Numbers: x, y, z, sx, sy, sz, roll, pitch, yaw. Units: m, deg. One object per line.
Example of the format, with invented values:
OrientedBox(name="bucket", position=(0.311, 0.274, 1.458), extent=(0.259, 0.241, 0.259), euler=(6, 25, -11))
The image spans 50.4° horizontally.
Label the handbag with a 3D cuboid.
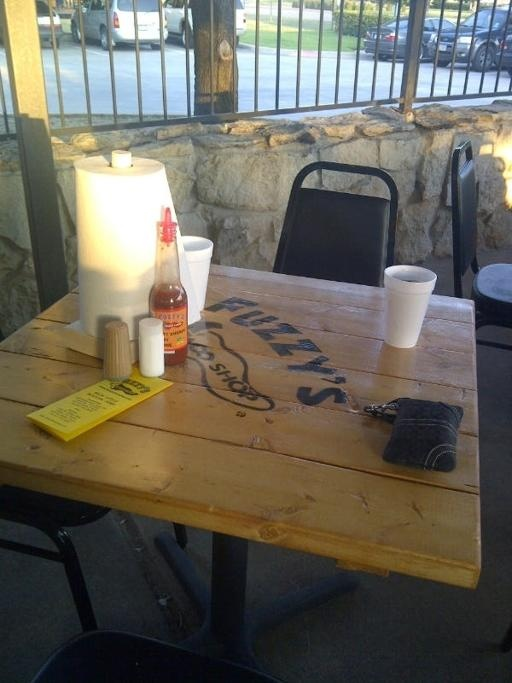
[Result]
OrientedBox(name="handbag", position=(0.197, 0.116, 0.680), extent=(0.096, 0.028, 0.093), euler=(5, 35, 22))
